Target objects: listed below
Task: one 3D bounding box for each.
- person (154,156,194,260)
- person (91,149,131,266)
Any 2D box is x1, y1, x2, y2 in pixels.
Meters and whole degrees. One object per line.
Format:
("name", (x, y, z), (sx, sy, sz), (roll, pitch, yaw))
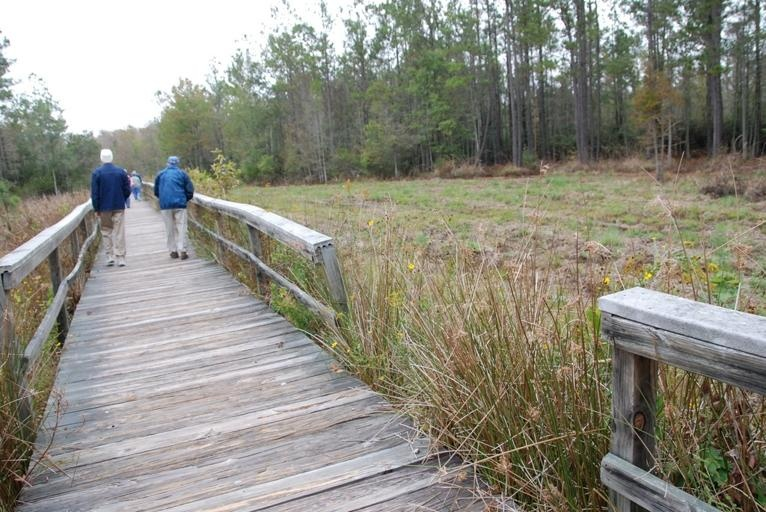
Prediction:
("person", (-3.230, -0.767, 8.620), (0.521, 1.580, 0.905), (-7, 13, -20))
("person", (-4.117, -0.749, 8.399), (0.553, 1.745, 0.908), (-9, 14, -25))
